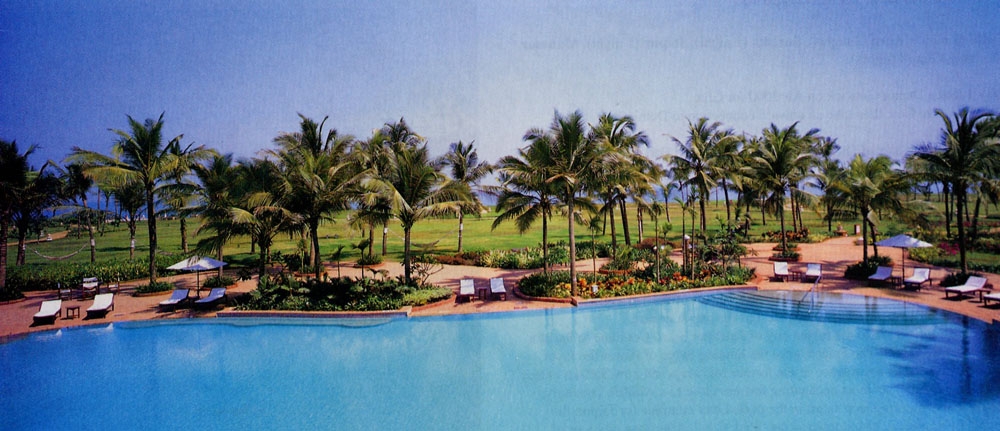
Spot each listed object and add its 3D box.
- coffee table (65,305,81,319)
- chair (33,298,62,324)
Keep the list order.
[{"bbox_3d":[-38.167,8.637,57.381,1.352,0.899,1.307,2,-2,-39],"label":"coffee table"},{"bbox_3d":[-39.951,8.262,56.937,1.646,1.386,2.618,-4,22,-23],"label":"chair"}]
